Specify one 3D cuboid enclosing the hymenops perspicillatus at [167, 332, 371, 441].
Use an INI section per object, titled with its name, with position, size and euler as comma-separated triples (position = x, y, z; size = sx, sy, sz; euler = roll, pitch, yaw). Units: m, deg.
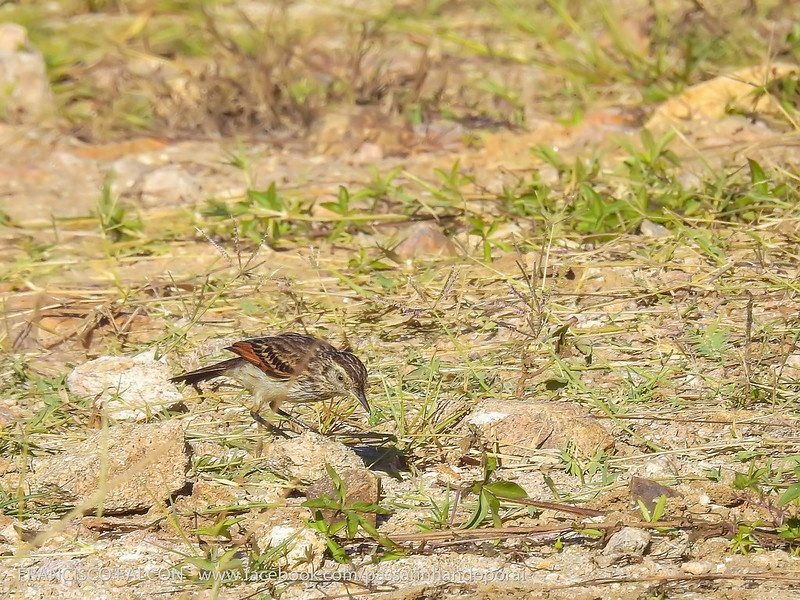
[hymenops perspicillatus]
position = -0.739, 0.452, 5.720
size = 1.673, 0.425, 0.558
euler = 12, 17, 39
